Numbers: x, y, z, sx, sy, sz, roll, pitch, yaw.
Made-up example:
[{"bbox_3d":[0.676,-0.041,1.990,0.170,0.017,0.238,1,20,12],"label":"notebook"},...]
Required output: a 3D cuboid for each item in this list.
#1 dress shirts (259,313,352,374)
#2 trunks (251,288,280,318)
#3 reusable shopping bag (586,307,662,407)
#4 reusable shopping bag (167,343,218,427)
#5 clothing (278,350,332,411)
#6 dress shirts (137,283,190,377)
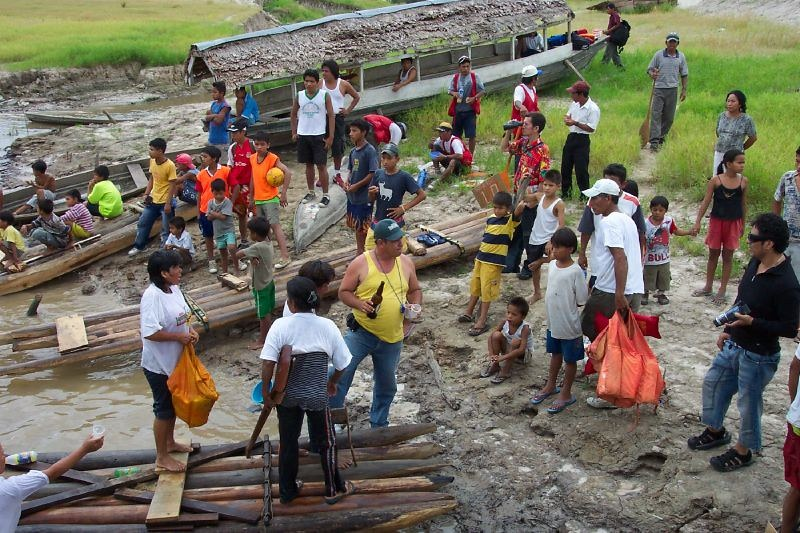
[{"bbox_3d":[-1.281,1.075,10.754,1.230,0.965,0.666,2,6,-14],"label":"dress shirts"},{"bbox_3d":[-2.341,0.627,13.698,0.198,0.394,0.301,15,42,15],"label":"trunks"},{"bbox_3d":[3.167,1.370,11.284,1.118,1.793,1.260,0,-3,-2],"label":"reusable shopping bag"},{"bbox_3d":[-2.867,1.616,11.147,0.540,1.189,0.686,-6,-4,24],"label":"reusable shopping bag"},{"bbox_3d":[-1.305,1.499,10.534,0.617,0.839,0.399,7,4,-1],"label":"clothing"},{"bbox_3d":[-3.261,0.892,11.022,0.542,1.193,1.024,14,30,11],"label":"dress shirts"}]
